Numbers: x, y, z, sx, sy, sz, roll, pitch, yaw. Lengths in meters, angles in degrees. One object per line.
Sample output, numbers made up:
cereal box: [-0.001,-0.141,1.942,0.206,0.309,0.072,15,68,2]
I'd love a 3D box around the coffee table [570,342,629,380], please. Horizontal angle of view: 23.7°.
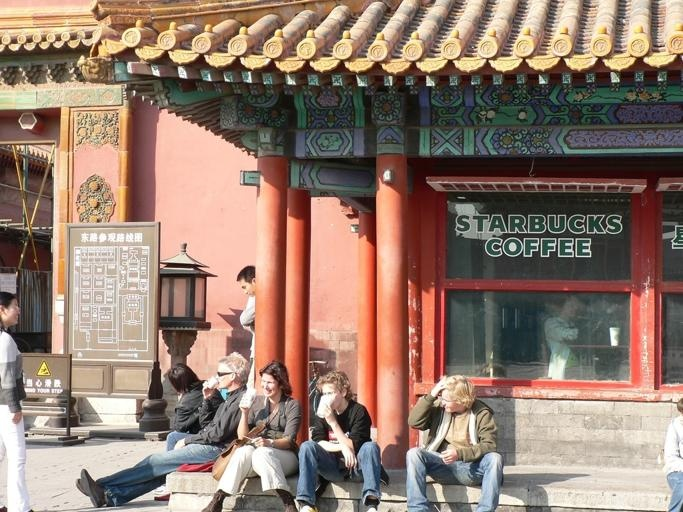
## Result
coffee table: [2.888,1.154,18.659,0.805,0.469,0.419,0,7,-16]

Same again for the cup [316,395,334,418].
cup: [-0.197,1.569,17.331,0.173,0.239,0.228,2,-6,-27]
